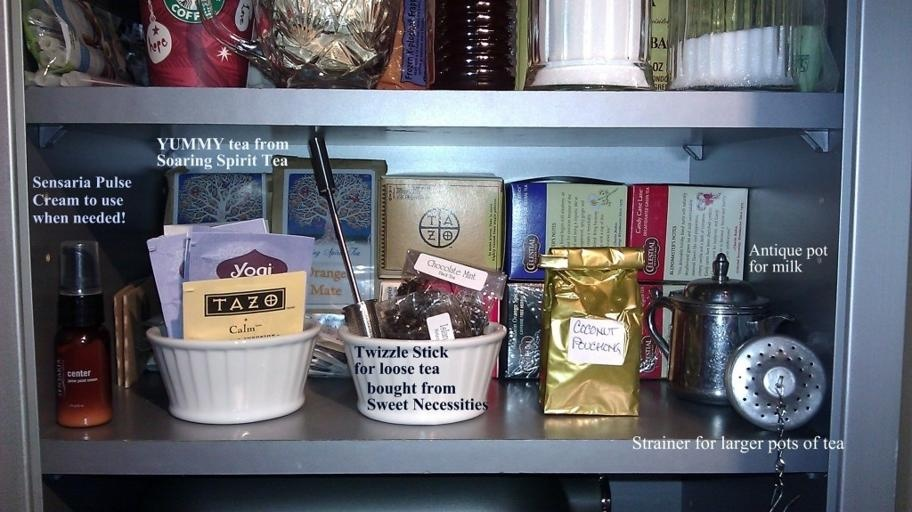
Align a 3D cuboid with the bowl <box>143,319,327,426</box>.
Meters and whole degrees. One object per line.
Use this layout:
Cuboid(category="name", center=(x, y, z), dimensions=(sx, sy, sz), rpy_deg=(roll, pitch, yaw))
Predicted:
Cuboid(category="bowl", center=(-0.441, 0.209, 1.480), dimensions=(0.242, 0.104, 0.229), rpy_deg=(1, -3, 0))
